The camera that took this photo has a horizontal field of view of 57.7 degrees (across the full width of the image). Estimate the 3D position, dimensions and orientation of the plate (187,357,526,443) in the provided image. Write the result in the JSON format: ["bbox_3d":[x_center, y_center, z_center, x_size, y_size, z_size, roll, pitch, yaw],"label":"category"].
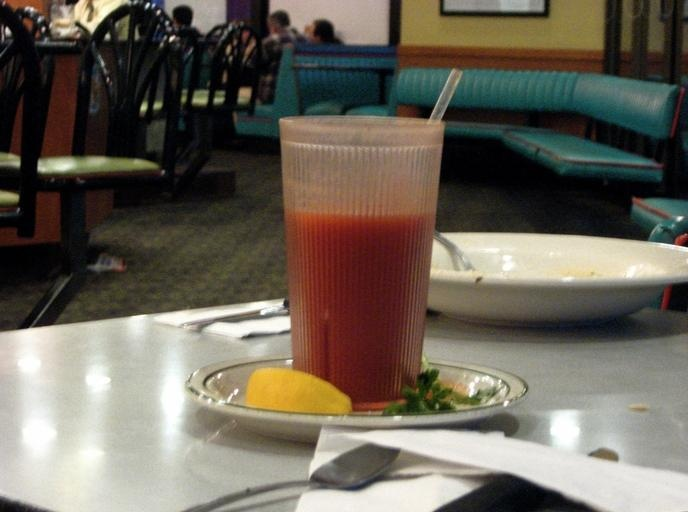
[{"bbox_3d":[0.007,0.076,0.347,0.184,0.024,0.109,0,10,-2],"label":"plate"}]
